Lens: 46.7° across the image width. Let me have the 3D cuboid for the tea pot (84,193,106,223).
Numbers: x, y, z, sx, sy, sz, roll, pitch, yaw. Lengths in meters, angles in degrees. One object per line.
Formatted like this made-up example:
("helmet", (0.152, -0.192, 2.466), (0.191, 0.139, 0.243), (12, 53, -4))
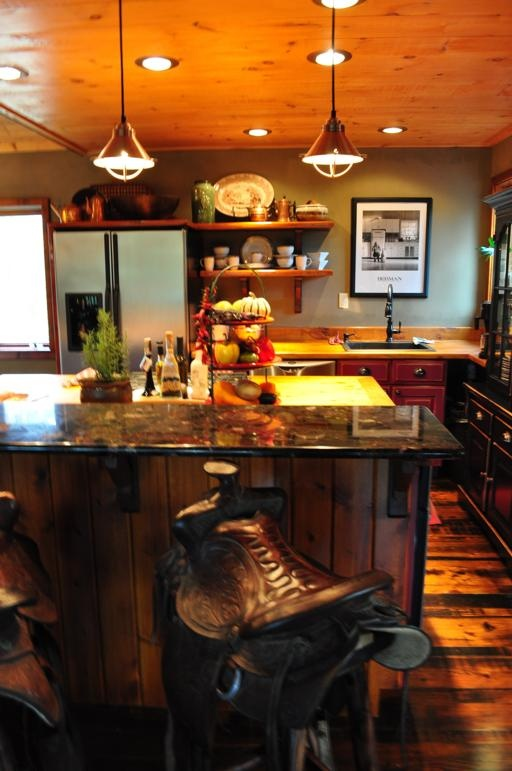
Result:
("tea pot", (-1.096, -1.185, 4.004), (0.142, 0.202, 0.049), (-4, 1, 17))

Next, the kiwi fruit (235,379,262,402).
("kiwi fruit", (-0.019, 0.016, 1.864), (0.063, 0.042, 0.074), (8, -2, -7))

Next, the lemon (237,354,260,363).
("lemon", (-0.026, -0.094, 2.064), (0.041, 0.029, 0.038), (1, 12, -3))

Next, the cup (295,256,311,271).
("cup", (0.330, -0.880, 4.256), (0.116, 0.107, 0.184), (9, 10, 13))

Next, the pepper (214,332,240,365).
("pepper", (-0.110, -0.136, 2.053), (0.089, 0.124, 0.089), (-1, 0, -8))

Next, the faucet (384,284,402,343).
("faucet", (1.034, -0.540, 4.442), (0.147, 0.425, 0.246), (8, 10, 11))

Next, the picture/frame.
("picture/frame", (1.028, -1.073, 4.440), (0.775, 0.963, 0.042), (0, 6, -1))

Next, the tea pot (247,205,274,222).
("tea pot", (0.026, -1.236, 4.232), (0.145, 0.090, 0.189), (0, 6, -1))

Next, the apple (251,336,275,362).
("apple", (0.032, -0.122, 2.107), (0.071, 0.090, 0.025), (2, -11, -33))

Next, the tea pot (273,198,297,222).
("tea pot", (0.201, -1.268, 4.311), (0.139, 0.229, 0.230), (0, 2, 0))

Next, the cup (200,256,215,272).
("cup", (-0.336, -0.865, 4.241), (0.089, 0.130, 0.140), (0, -1, -4))

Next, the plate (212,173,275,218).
("plate", (-0.084, -1.395, 4.349), (0.454, 0.324, 0.141), (6, 10, -5))
